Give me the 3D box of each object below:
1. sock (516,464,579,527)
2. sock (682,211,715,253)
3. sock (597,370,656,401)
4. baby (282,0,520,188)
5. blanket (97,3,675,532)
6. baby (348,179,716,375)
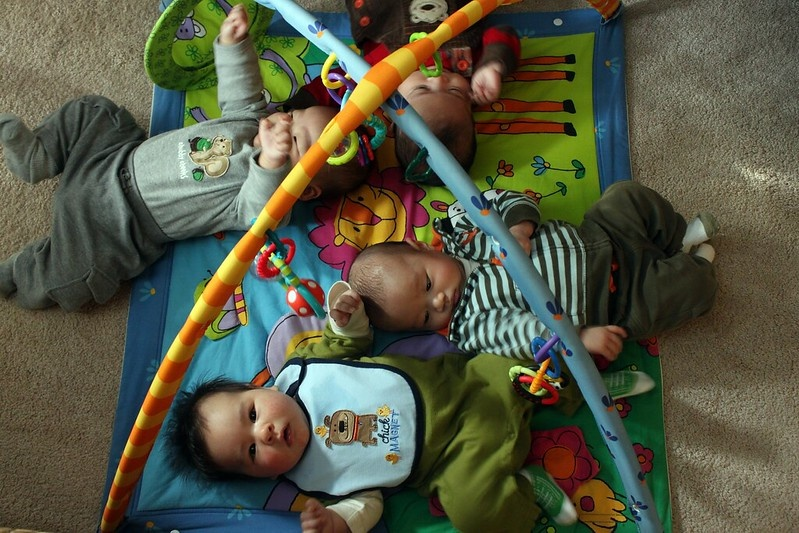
[{"bbox_3d":[0.450,0.690,2.325,0.255,0.103,0.091,45,96,3],"label":"sock"},{"bbox_3d":[0.976,-0.110,2.561,0.076,0.062,0.155,41,96,4],"label":"sock"},{"bbox_3d":[0.715,0.368,2.384,0.224,0.092,0.084,-8,85,4],"label":"sock"},{"bbox_3d":[0.160,-0.707,2.810,0.706,0.247,0.740,16,74,7],"label":"baby"},{"bbox_3d":[-0.143,0.072,2.485,1.445,0.838,1.526,-2,53,0],"label":"blanket"},{"bbox_3d":[0.425,0.027,2.424,0.977,0.305,0.598,-3,70,3],"label":"baby"}]
